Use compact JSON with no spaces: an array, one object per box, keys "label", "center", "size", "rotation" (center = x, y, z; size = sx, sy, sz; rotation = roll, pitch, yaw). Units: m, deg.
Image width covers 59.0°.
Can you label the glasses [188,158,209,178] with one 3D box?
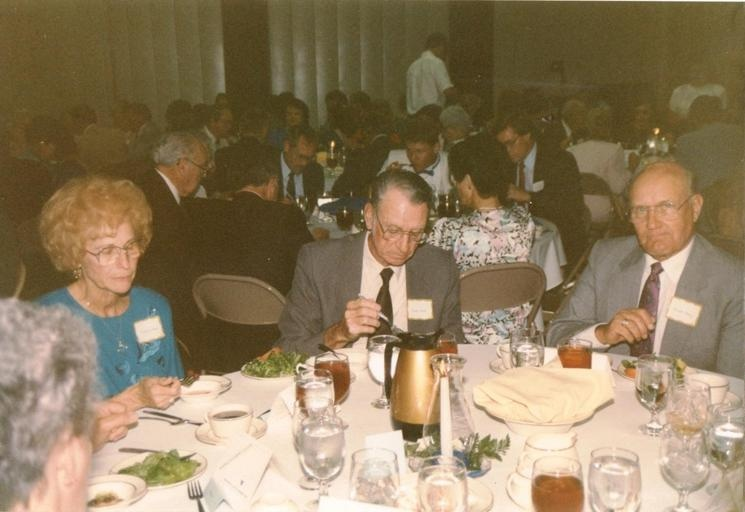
[{"label":"glasses","center":[-1.106,-0.557,4.139],"size":[0.077,0.022,0.075],"rotation":[44,11,14]}]

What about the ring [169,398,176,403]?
[{"label":"ring","center":[-0.673,0.491,2.230],"size":[0.018,0.020,0.020],"rotation":[0,-8,7]}]

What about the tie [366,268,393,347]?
[{"label":"tie","center":[0.044,0.212,2.810],"size":[0.069,0.295,0.071],"rotation":[3,-3,-5]}]

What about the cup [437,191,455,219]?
[{"label":"cup","center":[0.543,-0.365,4.912],"size":[0.150,0.169,0.150],"rotation":[-1,5,0]}]

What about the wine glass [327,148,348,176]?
[{"label":"wine glass","center":[-0.333,-0.872,6.150],"size":[0.201,0.237,0.219],"rotation":[0,6,-3]}]
